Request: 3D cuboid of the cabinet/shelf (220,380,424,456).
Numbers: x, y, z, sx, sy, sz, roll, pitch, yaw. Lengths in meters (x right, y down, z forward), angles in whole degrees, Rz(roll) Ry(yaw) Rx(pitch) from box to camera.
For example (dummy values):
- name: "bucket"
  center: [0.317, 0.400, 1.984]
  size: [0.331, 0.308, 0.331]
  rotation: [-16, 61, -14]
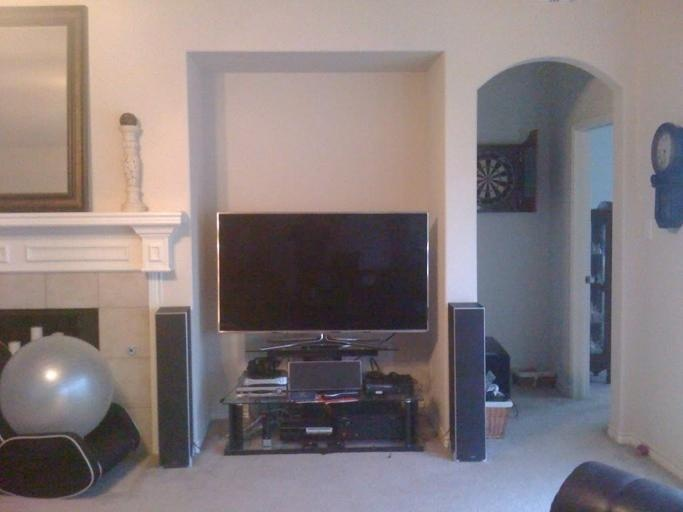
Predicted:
- name: "cabinet/shelf"
  center: [-0.143, 1.195, 5.372]
  size: [1.433, 0.485, 0.373]
  rotation: [-1, 3, -2]

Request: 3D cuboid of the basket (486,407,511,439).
- name: "basket"
  center: [1.185, 1.233, 5.403]
  size: [0.227, 0.199, 0.201]
  rotation: [-1, 0, 17]

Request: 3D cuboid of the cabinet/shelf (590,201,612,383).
- name: "cabinet/shelf"
  center: [2.379, 0.370, 6.588]
  size: [0.172, 1.586, 0.156]
  rotation: [0, 3, 18]

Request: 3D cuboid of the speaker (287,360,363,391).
- name: "speaker"
  center: [-0.147, 0.862, 5.399]
  size: [0.459, 0.238, 0.113]
  rotation: [0, 0, -1]

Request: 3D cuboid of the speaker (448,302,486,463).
- name: "speaker"
  center: [0.905, 0.918, 5.097]
  size: [0.212, 1.108, 0.087]
  rotation: [-1, 3, -12]

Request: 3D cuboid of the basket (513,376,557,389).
- name: "basket"
  center: [1.733, 1.130, 6.434]
  size: [0.373, 0.097, 0.101]
  rotation: [0, 3, 15]

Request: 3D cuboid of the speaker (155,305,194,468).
- name: "speaker"
  center: [-1.191, 0.954, 5.080]
  size: [0.232, 1.111, 0.084]
  rotation: [-2, 3, -19]
